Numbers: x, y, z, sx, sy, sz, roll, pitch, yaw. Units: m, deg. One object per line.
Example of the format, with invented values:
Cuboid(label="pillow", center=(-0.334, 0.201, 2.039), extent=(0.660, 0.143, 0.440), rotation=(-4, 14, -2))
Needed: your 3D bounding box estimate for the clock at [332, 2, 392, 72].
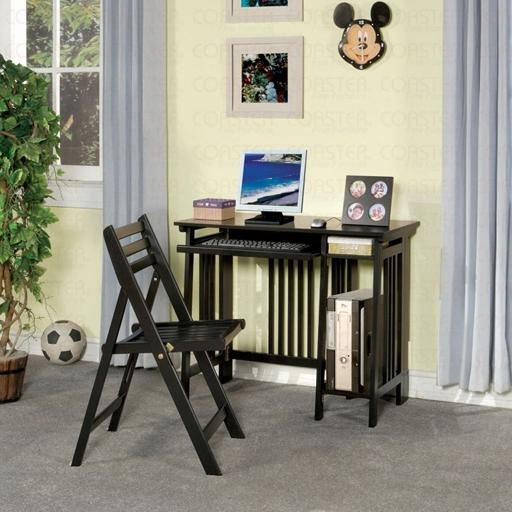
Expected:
Cuboid(label="clock", center=(0.562, -1.145, 3.177), extent=(0.350, 0.415, 0.044), rotation=(2, 9, 17))

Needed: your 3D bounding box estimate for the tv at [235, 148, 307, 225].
Cuboid(label="tv", center=(0.088, -0.370, 3.262), extent=(0.410, 0.404, 0.032), rotation=(2, -14, 23))

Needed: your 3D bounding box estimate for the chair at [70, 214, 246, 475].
Cuboid(label="chair", center=(-0.472, 0.326, 3.059), extent=(0.898, 1.432, 0.829), rotation=(-2, 3, 10))

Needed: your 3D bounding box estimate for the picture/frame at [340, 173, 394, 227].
Cuboid(label="picture/frame", center=(0.557, -0.273, 3.047), extent=(0.275, 0.292, 0.023), rotation=(2, -17, 25))

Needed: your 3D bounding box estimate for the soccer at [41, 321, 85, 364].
Cuboid(label="soccer", center=(-1.152, 0.526, 3.696), extent=(0.240, 0.255, 0.246), rotation=(4, -12, -22))
